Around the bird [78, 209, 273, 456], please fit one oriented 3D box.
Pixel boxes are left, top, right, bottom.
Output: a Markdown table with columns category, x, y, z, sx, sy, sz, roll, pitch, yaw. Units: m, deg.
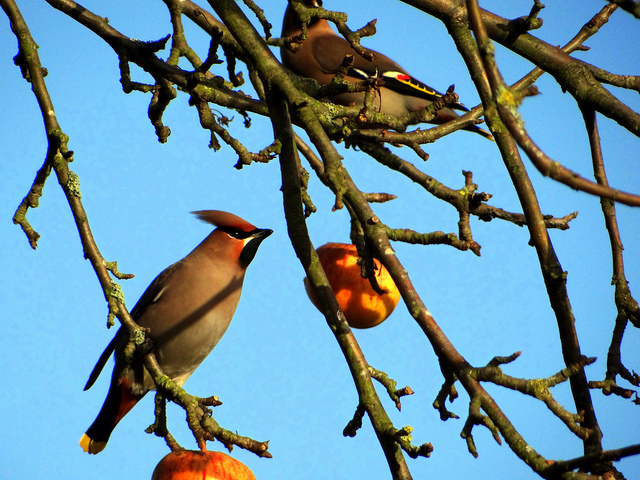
| category | x | y | z | sx | sy | sz | roll | pitch | yaw |
| --- | --- | --- | --- | --- | --- | --- | --- | --- | --- |
| bird | -0.841 | 0.465 | 5.853 | 1.168 | 0.957 | 0.456 | -27 | -44 | 21 |

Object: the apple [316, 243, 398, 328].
| category | x | y | z | sx | sy | sz | roll | pitch | yaw |
| --- | --- | --- | --- | --- | --- | --- | --- | --- | --- |
| apple | 0.212 | 0.204 | 5.440 | 0.288 | 0.355 | 0.430 | -34 | -60 | 19 |
